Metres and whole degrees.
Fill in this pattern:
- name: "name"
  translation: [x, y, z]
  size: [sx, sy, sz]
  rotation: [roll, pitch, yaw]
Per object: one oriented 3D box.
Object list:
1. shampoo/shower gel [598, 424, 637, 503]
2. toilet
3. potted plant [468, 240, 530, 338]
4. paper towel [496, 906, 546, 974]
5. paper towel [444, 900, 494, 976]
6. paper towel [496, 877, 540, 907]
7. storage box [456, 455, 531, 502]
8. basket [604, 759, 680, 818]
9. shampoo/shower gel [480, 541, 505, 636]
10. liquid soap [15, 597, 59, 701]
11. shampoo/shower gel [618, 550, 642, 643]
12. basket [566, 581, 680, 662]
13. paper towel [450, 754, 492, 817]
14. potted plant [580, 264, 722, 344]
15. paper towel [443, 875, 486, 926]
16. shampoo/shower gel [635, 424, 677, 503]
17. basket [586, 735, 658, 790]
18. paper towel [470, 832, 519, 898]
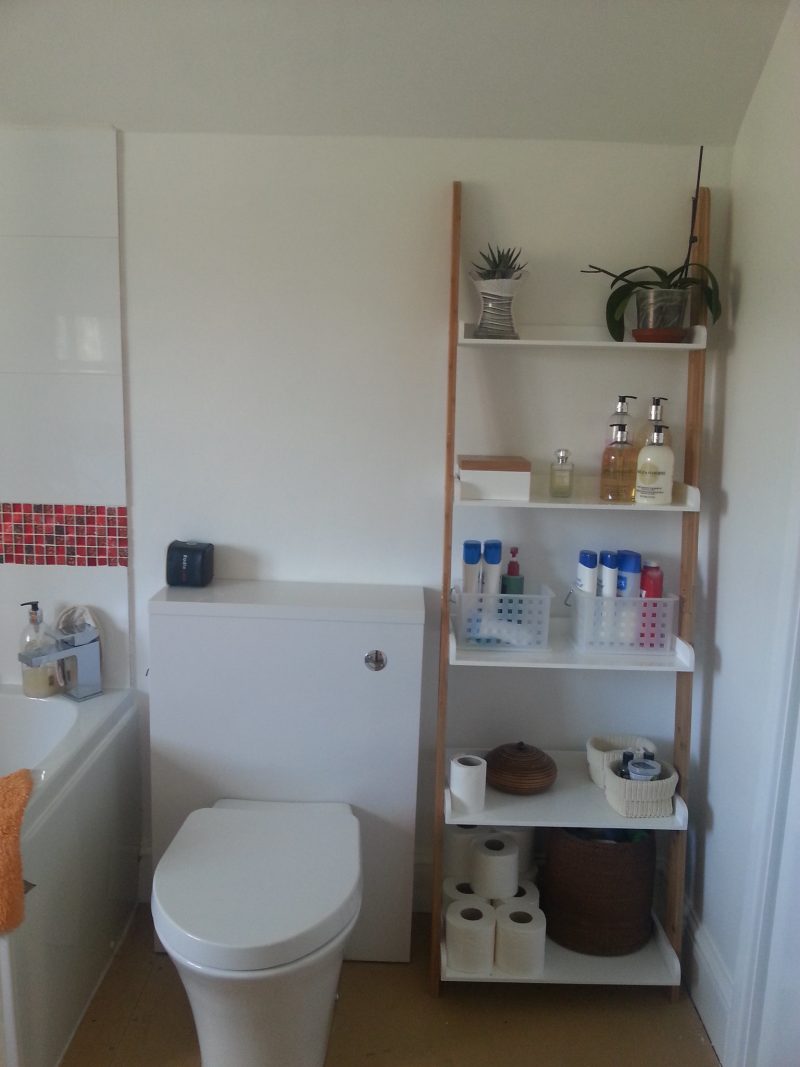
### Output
- name: "shampoo/shower gel"
  translation: [0.447, -0.142, 1.816]
  size: [0.066, 0.156, 0.138]
  rotation: [3, 11, 7]
- name: "toilet"
  translation: [-0.222, 0.558, 1.782]
  size: [0.536, 1.035, 0.747]
  rotation: [0, 14, 1]
- name: "potted plant"
  translation: [0.198, -0.487, 1.805]
  size: [0.104, 0.180, 0.115]
  rotation: [1, 40, 1]
- name: "paper towel"
  translation: [0.243, 0.829, 1.857]
  size: [0.089, 0.074, 0.104]
  rotation: [-2, 24, 1]
- name: "paper towel"
  translation: [0.145, 0.824, 1.861]
  size: [0.108, 0.145, 0.121]
  rotation: [-12, -6, 38]
- name: "paper towel"
  translation: [0.249, 0.768, 1.918]
  size: [0.062, 0.020, 0.072]
  rotation: [-1, 16, 2]
- name: "storage box"
  translation: [0.182, -0.101, 1.753]
  size: [0.137, 0.074, 0.059]
  rotation: [2, 11, 0]
- name: "basket"
  translation: [0.494, 0.519, 1.877]
  size: [0.083, 0.062, 0.124]
  rotation: [0, 2, 1]
- name: "shampoo/shower gel"
  translation: [0.187, 0.113, 1.837]
  size: [0.041, 0.199, 0.082]
  rotation: [2, 10, 6]
- name: "liquid soap"
  translation: [-0.811, 0.253, 1.993]
  size: [0.072, 0.212, 0.182]
  rotation: [-4, 12, -25]
- name: "shampoo/shower gel"
  translation: [0.469, 0.152, 1.845]
  size: [0.047, 0.049, 0.230]
  rotation: [-1, 54, 16]
- name: "basket"
  translation: [0.456, 0.188, 1.823]
  size: [0.127, 0.103, 0.148]
  rotation: [0, 9, 7]
- name: "paper towel"
  translation: [0.141, 0.511, 1.821]
  size: [0.064, 0.115, 0.093]
  rotation: [0, 7, 3]
- name: "potted plant"
  translation: [0.512, -0.473, 1.844]
  size: [0.286, 0.158, 0.202]
  rotation: [7, 12, 22]
- name: "paper towel"
  translation: [0.135, 0.777, 1.893]
  size: [0.087, 0.071, 0.098]
  rotation: [-1, 7, -11]
- name: "shampoo/shower gel"
  translation: [0.516, -0.141, 1.803]
  size: [0.075, 0.155, 0.167]
  rotation: [5, 12, 17]
- name: "basket"
  translation: [0.468, 0.490, 1.970]
  size: [0.086, 0.065, 0.132]
  rotation: [0, -2, 1]
- name: "paper towel"
  translation: [0.205, 0.721, 1.954]
  size: [0.081, 0.110, 0.100]
  rotation: [-8, 26, -9]
